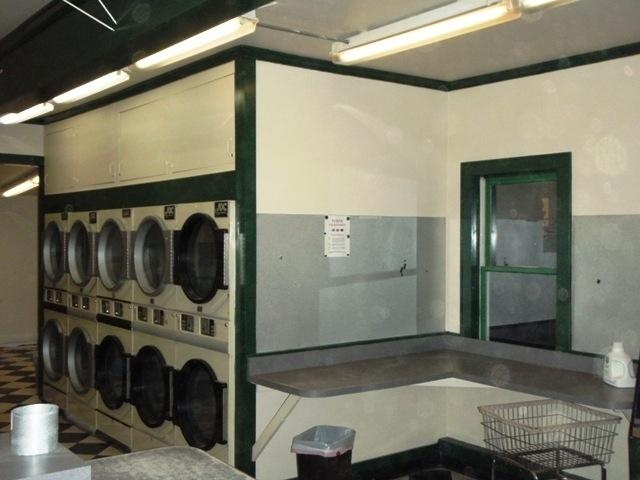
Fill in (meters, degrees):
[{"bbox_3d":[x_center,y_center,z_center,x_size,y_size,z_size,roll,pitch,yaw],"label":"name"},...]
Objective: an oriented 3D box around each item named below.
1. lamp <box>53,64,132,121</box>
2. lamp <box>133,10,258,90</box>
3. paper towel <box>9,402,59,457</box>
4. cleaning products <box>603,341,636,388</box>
[{"bbox_3d":[-1.238,-0.815,2.843,0.170,0.065,0.804,-5,5,-45],"label":"lamp"},{"bbox_3d":[-0.562,-0.858,2.298,0.681,0.124,0.119,1,4,32],"label":"lamp"},{"bbox_3d":[-0.863,0.568,1.631,0.132,0.130,0.102,-5,15,-45],"label":"paper towel"},{"bbox_3d":[1.727,0.716,3.086,0.155,0.258,0.087,0,4,29],"label":"cleaning products"}]
